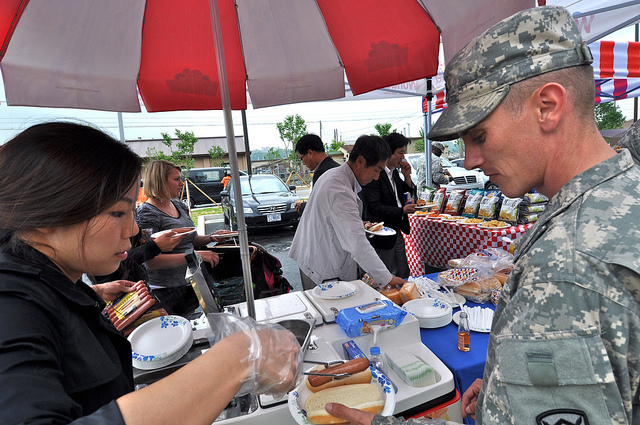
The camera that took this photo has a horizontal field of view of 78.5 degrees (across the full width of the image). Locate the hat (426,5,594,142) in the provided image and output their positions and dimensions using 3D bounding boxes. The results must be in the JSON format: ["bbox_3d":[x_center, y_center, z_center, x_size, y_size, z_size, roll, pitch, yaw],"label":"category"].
[{"bbox_3d":[0.654,-0.519,1.569,0.646,0.324,0.449,-28,-2,22],"label":"hat"}]

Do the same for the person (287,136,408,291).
[{"bbox_3d":[0.229,0.039,3.297,0.609,1.341,1.150,-9,7,-41],"label":"person"}]

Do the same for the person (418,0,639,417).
[{"bbox_3d":[0.785,-0.019,1.371,0.674,1.453,0.387,-3,6,17],"label":"person"}]

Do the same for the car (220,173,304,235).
[{"bbox_3d":[-1.356,-0.321,9.289,1.153,0.907,2.391,-6,2,-18],"label":"car"}]

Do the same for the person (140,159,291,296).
[{"bbox_3d":[-1.007,0.198,3.656,1.332,1.373,0.799,-3,8,-4],"label":"person"}]

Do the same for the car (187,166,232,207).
[{"bbox_3d":[-4.187,-0.966,14.636,2.178,1.154,1.457,-6,14,-15],"label":"car"}]

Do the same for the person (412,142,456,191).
[{"bbox_3d":[1.852,-0.812,7.023,0.701,0.630,1.214,-6,7,-20],"label":"person"}]
